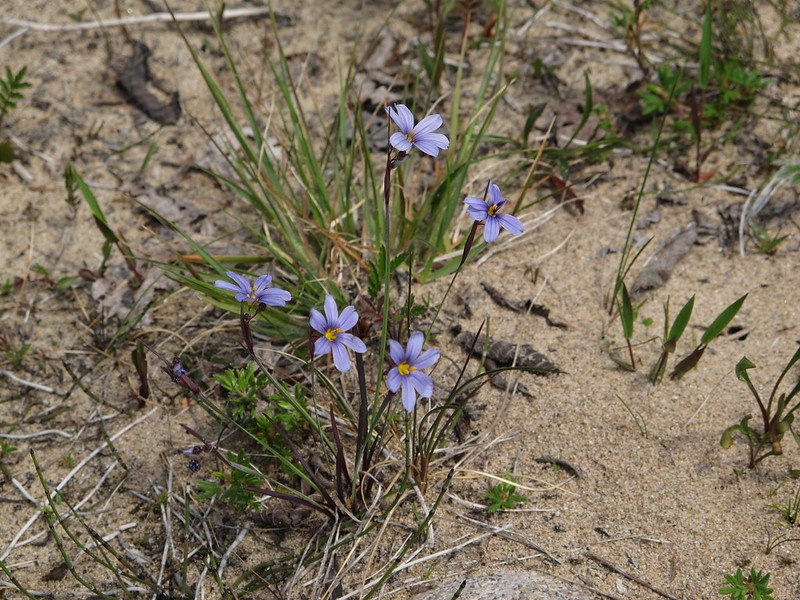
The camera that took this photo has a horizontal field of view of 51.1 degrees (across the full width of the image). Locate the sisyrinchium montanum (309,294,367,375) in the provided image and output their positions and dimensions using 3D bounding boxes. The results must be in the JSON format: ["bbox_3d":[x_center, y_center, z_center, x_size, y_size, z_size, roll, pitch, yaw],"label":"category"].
[{"bbox_3d":[-0.295,0.167,3.893,0.134,0.352,0.353,-15,58,36],"label":"sisyrinchium montanum"}]

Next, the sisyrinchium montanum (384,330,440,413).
[{"bbox_3d":[0.024,0.304,3.838,0.391,0.336,0.121,-124,40,-66],"label":"sisyrinchium montanum"}]

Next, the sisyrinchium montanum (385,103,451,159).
[{"bbox_3d":[0.051,-0.820,4.092,0.324,0.356,0.126,29,80,10],"label":"sisyrinchium montanum"}]

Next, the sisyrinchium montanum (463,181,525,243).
[{"bbox_3d":[0.438,-0.442,4.095,0.354,0.312,0.115,24,68,24],"label":"sisyrinchium montanum"}]
